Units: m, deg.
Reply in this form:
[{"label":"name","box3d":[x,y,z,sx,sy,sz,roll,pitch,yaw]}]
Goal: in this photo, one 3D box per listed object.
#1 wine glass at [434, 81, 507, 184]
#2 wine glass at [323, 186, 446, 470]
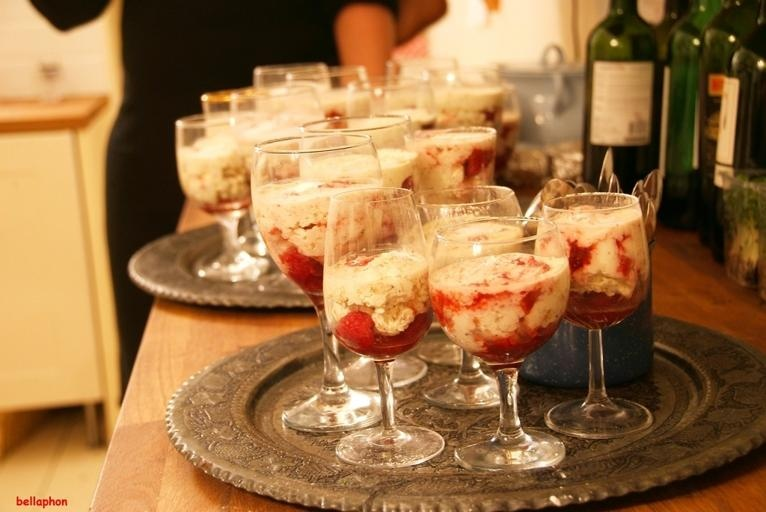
[{"label":"wine glass","box3d":[0.166,-0.302,1.636,0.264,0.262,0.248,-4,9,-2]},{"label":"wine glass","box3d":[-0.007,0.104,0.867,0.159,0.361,0.183,-7,25,3]}]
